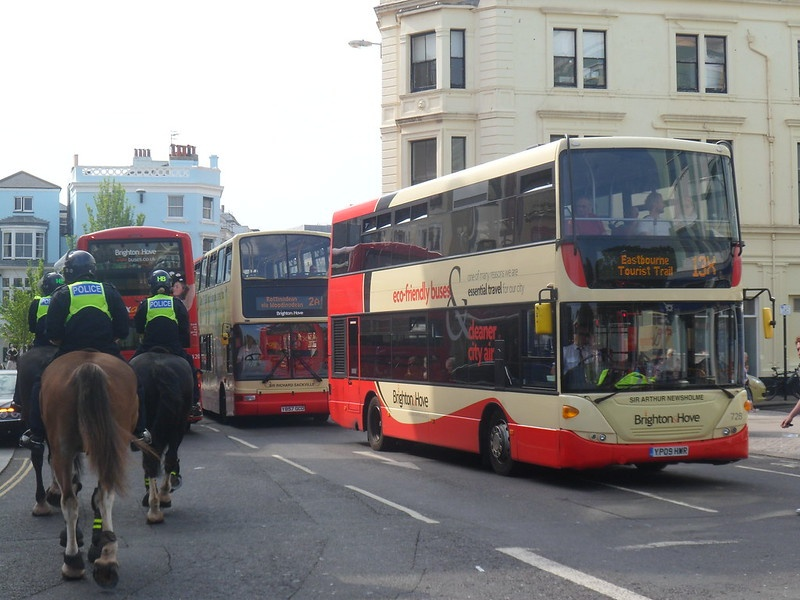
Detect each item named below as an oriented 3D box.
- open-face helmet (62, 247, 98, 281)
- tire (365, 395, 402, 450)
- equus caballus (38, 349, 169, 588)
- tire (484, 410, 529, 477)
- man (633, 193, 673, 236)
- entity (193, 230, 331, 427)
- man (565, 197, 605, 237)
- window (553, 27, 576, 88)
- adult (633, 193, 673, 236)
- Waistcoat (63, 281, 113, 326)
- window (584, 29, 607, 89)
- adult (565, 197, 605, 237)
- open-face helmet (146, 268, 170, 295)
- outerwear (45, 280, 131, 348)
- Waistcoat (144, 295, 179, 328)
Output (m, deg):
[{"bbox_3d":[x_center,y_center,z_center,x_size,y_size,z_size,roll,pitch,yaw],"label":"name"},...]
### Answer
[{"bbox_3d":[-3.974,-0.450,13.253,0.332,0.425,0.408,-5,10,-31],"label":"open-face helmet"},{"bbox_3d":[-0.369,2.455,21.696,0.380,1.162,1.117,0,9,-24],"label":"tire"},{"bbox_3d":[-3.455,1.787,11.895,1.070,2.412,1.781,0,1,-19],"label":"equus caballus"},{"bbox_3d":[1.738,2.273,17.509,0.387,1.300,1.091,2,0,-21],"label":"tire"},{"bbox_3d":[3.859,-1.319,16.333,0.557,0.684,0.224,0,1,-26],"label":"man"},{"bbox_3d":[-3.263,0.556,28.838,2.234,3.610,7.131,1,-3,-20],"label":"entity"},{"bbox_3d":[2.810,-1.250,16.182,0.656,0.562,0.147,0,1,-6],"label":"man"},{"bbox_3d":[5.548,-8.143,36.279,0.839,2.000,0.157,1,-10,-2],"label":"window"},{"bbox_3d":[3.859,-1.319,16.333,0.557,0.684,0.224,0,1,-26],"label":"adult"},{"bbox_3d":[-3.804,0.059,12.930,0.509,0.555,0.448,0,-6,-24],"label":"Waistcoat"},{"bbox_3d":[6.529,-8.103,36.342,0.862,2.035,0.125,2,-7,-6],"label":"window"},{"bbox_3d":[2.810,-1.250,16.182,0.656,0.562,0.147,0,1,-6],"label":"adult"},{"bbox_3d":[-3.410,-0.280,14.843,0.289,0.386,0.376,1,-7,-9],"label":"open-face helmet"},{"bbox_3d":[-3.793,0.183,12.894,0.950,0.865,0.586,0,1,-17],"label":"outerwear"},{"bbox_3d":[-3.265,0.120,14.671,0.465,0.644,0.328,0,-14,-10],"label":"Waistcoat"}]
